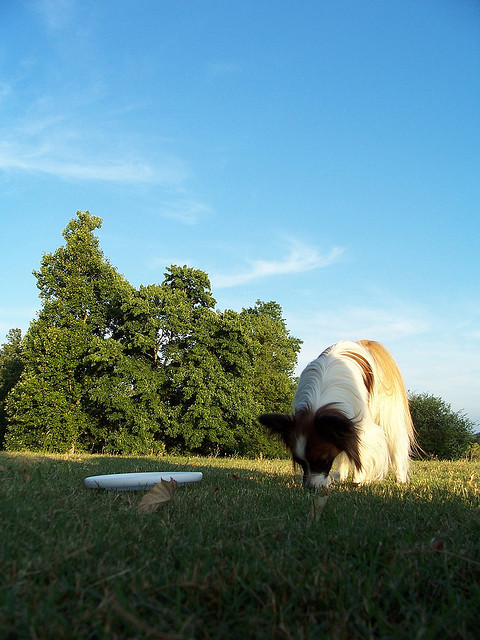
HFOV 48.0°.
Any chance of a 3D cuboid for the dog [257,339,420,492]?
[{"bbox_3d":[1.184,1.034,5.710,0.942,1.374,2.922,-5,-4,29],"label":"dog"}]
